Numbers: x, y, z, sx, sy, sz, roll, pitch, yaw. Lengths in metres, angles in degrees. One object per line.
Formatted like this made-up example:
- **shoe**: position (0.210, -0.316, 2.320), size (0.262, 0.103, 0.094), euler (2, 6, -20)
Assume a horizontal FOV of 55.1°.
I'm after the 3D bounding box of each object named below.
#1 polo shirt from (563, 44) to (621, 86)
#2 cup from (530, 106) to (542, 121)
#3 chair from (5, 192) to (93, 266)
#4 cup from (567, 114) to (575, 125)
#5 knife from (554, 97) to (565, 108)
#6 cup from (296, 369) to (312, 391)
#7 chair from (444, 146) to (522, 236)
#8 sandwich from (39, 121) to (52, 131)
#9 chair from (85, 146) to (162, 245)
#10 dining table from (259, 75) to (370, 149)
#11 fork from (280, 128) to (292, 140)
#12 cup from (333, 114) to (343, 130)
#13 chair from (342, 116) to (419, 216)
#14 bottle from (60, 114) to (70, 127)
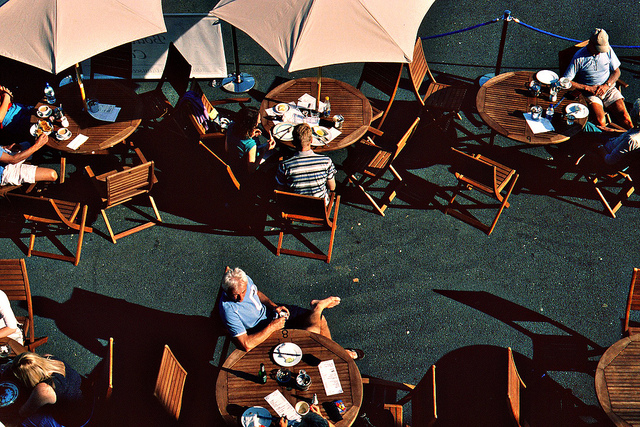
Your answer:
- **polo shirt**: position (5.814, -3.147, 13.045), size (1.100, 0.859, 0.571), euler (-9, 36, 13)
- **cup**: position (4.300, -1.995, 12.335), size (0.227, 0.242, 0.241), euler (-5, 27, 3)
- **chair**: position (-5.379, 0.389, 12.047), size (0.794, 1.185, 0.923), euler (8, 54, -4)
- **cup**: position (4.968, -1.846, 12.193), size (0.158, 0.137, 0.168), euler (-3, 22, 1)
- **knife**: position (4.864, -2.229, 12.479), size (0.032, 0.035, 0.256), euler (29, 78, 39)
- **cup**: position (-0.264, 2.740, 9.987), size (0.202, 0.288, 0.301), euler (-2, 52, -3)
- **chair**: position (3.243, -0.625, 12.245), size (1.235, 1.639, 1.255), euler (-19, 39, -21)
- **sandwich**: position (-5.382, -1.684, 12.028), size (0.168, 0.098, 0.245), euler (-41, 68, -15)
- **chair**: position (-3.934, -0.524, 12.192), size (1.127, 1.650, 1.209), euler (-22, 52, -31)
- **dining table**: position (-0.035, -1.921, 12.521), size (2.104, 0.564, 2.263), euler (0, 41, -17)
- **fork**: position (-0.677, -1.549, 12.148), size (0.046, 0.039, 0.323), euler (38, 85, 21)
- **cup**: position (0.351, -1.788, 12.256), size (0.196, 0.200, 0.211), euler (0, 55, -1)
- **chair**: position (1.209, -0.876, 12.710), size (1.038, 1.514, 1.096), euler (35, 77, -1)
- **bottle**: position (-5.065, -1.809, 12.136), size (0.146, 0.136, 0.237), euler (-33, 66, -12)
